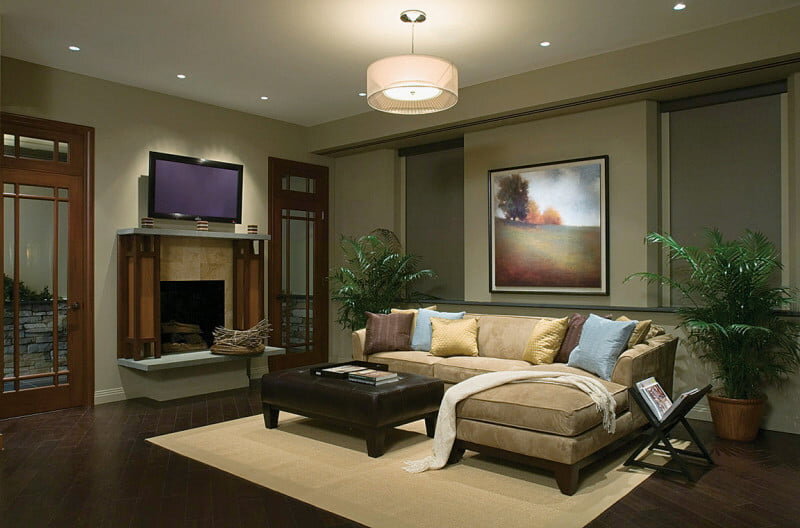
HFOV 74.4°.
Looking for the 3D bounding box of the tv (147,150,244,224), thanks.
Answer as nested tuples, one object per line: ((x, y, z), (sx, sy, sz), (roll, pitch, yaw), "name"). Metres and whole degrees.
((-2.711, -0.983, 6.849), (1.108, 0.750, 0.099), (1, 1, -42), "tv")

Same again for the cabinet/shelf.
((-2.581, 0.354, 6.858), (1.791, 1.421, 0.516), (-2, -2, -39), "cabinet/shelf")

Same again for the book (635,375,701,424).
((2.310, 1.180, 4.641), (0.364, 0.169, 0.483), (-1, -5, 42), "book")

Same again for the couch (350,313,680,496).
((1.444, 0.880, 4.912), (2.307, 0.813, 1.570), (-3, -3, 39), "couch")

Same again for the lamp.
((0.079, -1.916, 5.227), (0.987, 0.901, 0.930), (1, -10, -6), "lamp")
